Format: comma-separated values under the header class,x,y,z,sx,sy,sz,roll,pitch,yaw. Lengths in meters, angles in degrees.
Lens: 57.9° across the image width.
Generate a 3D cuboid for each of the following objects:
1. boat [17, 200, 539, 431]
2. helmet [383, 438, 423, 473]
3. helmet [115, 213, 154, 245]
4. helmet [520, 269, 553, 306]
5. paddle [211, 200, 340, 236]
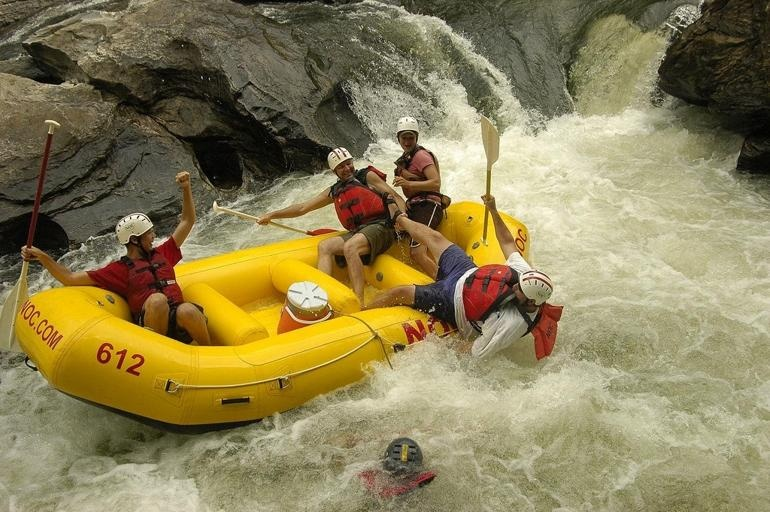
class,x,y,z,sx,sy,sz,roll,pitch,yaw
boat,-1.386,0.621,9.030,5.827,1.278,3.100,-10,29,-43
helmet,0.204,2.113,7.348,0.407,0.195,0.524,10,33,3
helmet,-2.871,-0.326,7.961,0.416,0.334,0.303,-12,13,-5
helmet,1.666,0.349,7.865,0.319,0.399,0.287,34,48,-11
paddle,-1.588,-0.544,10.235,1.195,0.167,0.171,22,54,-11
